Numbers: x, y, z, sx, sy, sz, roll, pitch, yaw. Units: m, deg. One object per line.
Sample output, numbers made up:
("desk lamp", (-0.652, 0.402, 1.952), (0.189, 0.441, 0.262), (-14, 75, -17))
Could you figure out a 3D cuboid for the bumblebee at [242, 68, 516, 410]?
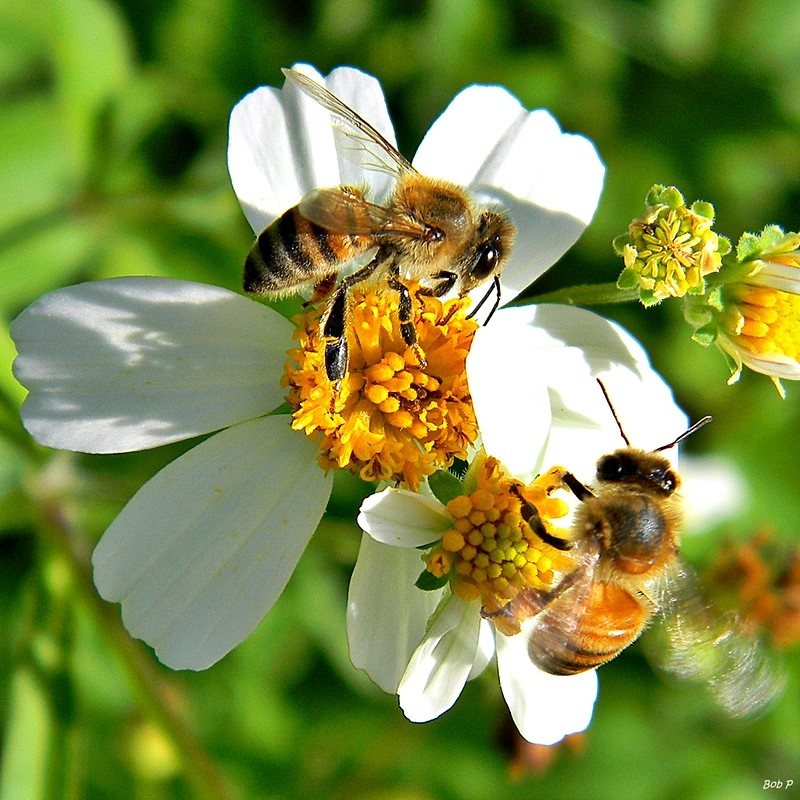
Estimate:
("bumblebee", (-0.020, -0.260, 1.813), (0.624, 0.205, 0.474), (18, 50, -38))
